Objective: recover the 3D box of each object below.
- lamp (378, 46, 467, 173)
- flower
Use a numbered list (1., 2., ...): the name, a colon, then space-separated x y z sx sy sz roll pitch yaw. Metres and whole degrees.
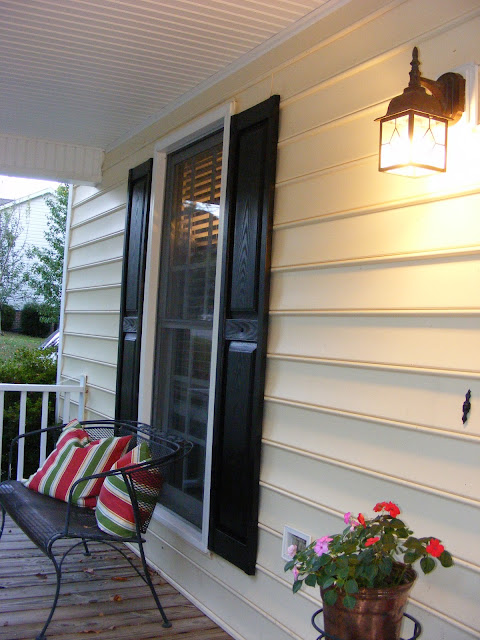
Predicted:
1. lamp: 0.470 -0.531 1.261 0.206 0.303 0.109 2 -9 17
2. flower: 0.299 0.525 1.141 0.311 0.168 0.275 -5 -9 -38
